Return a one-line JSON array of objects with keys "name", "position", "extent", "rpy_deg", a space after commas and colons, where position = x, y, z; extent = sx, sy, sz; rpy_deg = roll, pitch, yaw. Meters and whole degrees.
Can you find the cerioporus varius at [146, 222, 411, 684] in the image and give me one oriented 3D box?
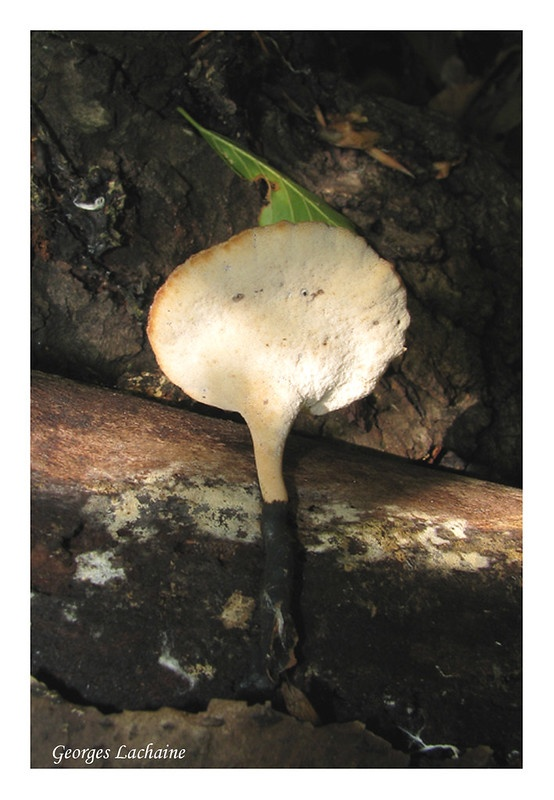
[{"name": "cerioporus varius", "position": [-0.012, 0.204, 2.751], "extent": [1.170, 1.583, 0.246], "rpy_deg": [1, 1, -4]}]
